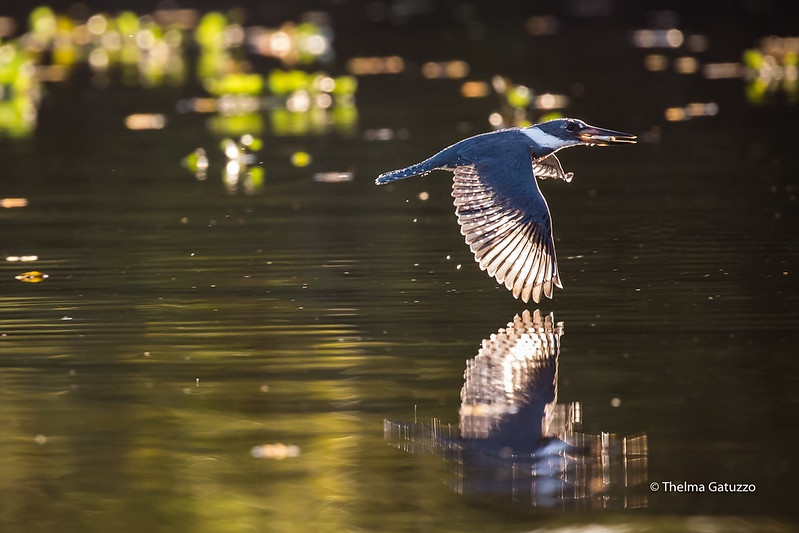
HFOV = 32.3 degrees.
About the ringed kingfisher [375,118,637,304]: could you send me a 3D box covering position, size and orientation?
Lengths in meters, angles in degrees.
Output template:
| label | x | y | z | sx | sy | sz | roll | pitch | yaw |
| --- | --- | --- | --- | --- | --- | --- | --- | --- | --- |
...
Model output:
| label | x | y | z | sx | sy | sz | roll | pitch | yaw |
| --- | --- | --- | --- | --- | --- | --- | --- | --- | --- |
| ringed kingfisher | 0.811 | -0.550 | 10.254 | 1.795 | 0.706 | 1.858 | 8 | 41 | 0 |
